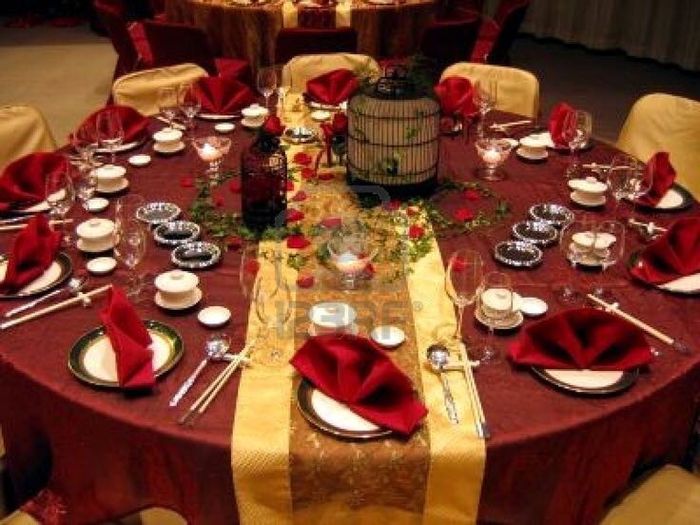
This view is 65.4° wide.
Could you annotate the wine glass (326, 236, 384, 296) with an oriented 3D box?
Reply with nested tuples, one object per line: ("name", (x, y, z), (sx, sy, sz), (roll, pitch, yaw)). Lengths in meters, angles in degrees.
("wine glass", (0.000, -0.024, 1.719), (0.160, 0.153, 0.165), (18, 32, 27))

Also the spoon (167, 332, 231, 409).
("spoon", (-0.382, 0.265, 1.439), (0.057, 0.039, 0.256), (16, 44, 19))

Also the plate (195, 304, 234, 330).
("plate", (-0.398, 0.156, 1.575), (0.067, 0.020, 0.069), (-3, 40, -10))

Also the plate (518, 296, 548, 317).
("plate", (0.555, 0.134, 1.639), (0.062, 0.016, 0.066), (-8, 37, -8))

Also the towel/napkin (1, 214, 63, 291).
("towel/napkin", (-0.995, -0.047, 1.787), (0.104, 0.125, 0.303), (-1, 42, 5))

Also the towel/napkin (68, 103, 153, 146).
("towel/napkin", (-1.117, -0.667, 2.563), (0.246, 0.103, 0.269), (-5, 33, -8))

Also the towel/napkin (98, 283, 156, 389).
("towel/napkin", (-0.573, 0.207, 1.395), (0.109, 0.091, 0.338), (5, 47, -38))

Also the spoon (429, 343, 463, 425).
("spoon", (0.248, 0.303, 1.392), (0.041, 0.027, 0.185), (10, 42, -15))

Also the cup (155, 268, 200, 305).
("cup", (-0.512, 0.068, 1.626), (0.101, 0.078, 0.108), (3, 41, -3))

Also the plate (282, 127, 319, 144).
("plate", (-0.257, -0.632, 2.707), (0.119, 0.032, 0.120), (4, 42, 2))

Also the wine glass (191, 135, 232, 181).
("wine glass", (-0.581, -0.463, 2.441), (0.195, 0.182, 0.202), (-1, 31, 0))

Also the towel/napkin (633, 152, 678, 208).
("towel/napkin", (1.207, -0.324, 2.132), (0.164, 0.099, 0.268), (8, 45, 21))
